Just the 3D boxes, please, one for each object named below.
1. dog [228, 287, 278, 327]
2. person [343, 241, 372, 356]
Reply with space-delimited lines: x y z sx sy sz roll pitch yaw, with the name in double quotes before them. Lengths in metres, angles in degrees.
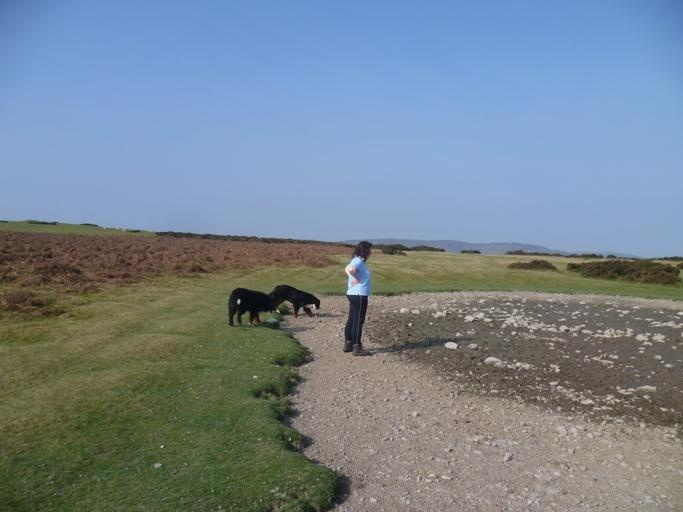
"dog" -3.342 1.718 15.920 0.998 1.486 2.078 2 12 11
"person" 0.460 1.290 13.698 0.893 3.524 1.034 0 15 2
